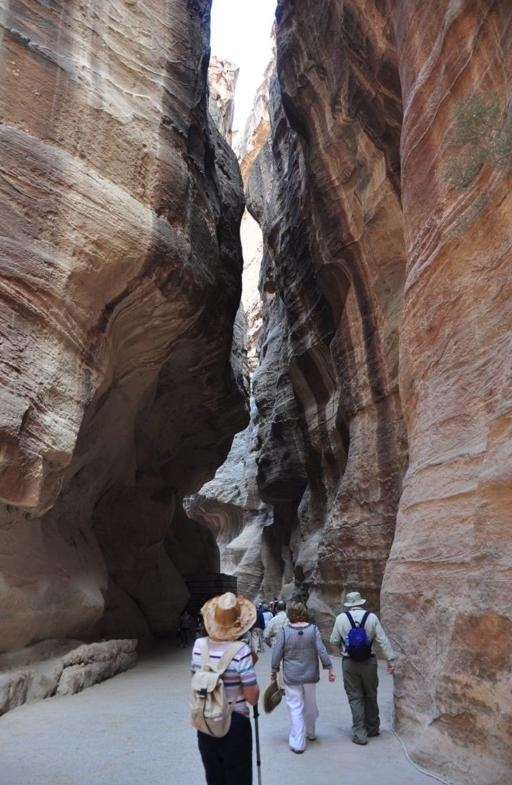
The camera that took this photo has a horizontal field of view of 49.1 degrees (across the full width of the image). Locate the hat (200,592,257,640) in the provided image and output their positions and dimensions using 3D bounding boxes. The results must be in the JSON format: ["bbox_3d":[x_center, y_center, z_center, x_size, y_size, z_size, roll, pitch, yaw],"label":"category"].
[{"bbox_3d":[-0.107,1.022,2.460,0.203,0.255,0.090,-20,-1,-7],"label":"hat"}]

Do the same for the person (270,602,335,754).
[{"bbox_3d":[0.372,2.132,4.220,0.439,1.054,0.440,-5,-5,33],"label":"person"}]

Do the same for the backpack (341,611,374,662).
[{"bbox_3d":[0.751,1.836,4.186,0.195,0.321,0.303,-2,-7,6],"label":"backpack"}]

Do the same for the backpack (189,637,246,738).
[{"bbox_3d":[-0.160,1.212,2.310,0.186,0.356,0.212,5,-14,-13],"label":"backpack"}]
